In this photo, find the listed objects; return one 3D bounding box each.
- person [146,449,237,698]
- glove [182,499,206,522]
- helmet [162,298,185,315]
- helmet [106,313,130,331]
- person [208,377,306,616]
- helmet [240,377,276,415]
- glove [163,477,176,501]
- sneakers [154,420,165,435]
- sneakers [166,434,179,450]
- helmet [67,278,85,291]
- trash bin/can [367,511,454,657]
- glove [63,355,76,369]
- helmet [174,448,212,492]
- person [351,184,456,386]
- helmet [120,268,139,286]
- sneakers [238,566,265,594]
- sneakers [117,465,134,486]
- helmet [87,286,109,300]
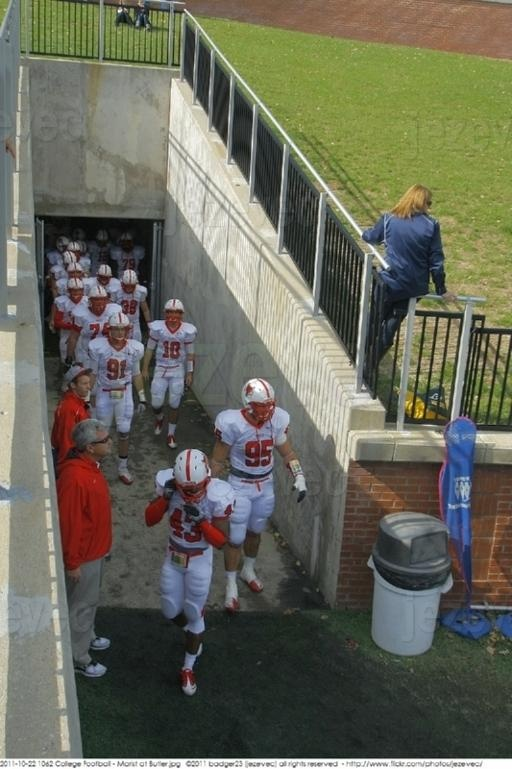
[{"bbox_3d":[-0.493,1.262,6.200,0.576,1.788,0.588,6,14,-1],"label":"person"},{"bbox_3d":[-0.423,0.839,5.844,0.143,0.108,0.058,25,67,45],"label":"glove"},{"bbox_3d":[-0.987,-0.958,10.847,0.246,0.227,0.273,1,9,-10],"label":"helmet"},{"bbox_3d":[-1.470,-0.673,9.627,0.183,0.197,0.236,1,0,-15],"label":"helmet"},{"bbox_3d":[-0.083,0.910,7.335,0.860,1.873,0.700,-3,13,-22],"label":"person"},{"bbox_3d":[0.027,0.078,7.015,0.199,0.216,0.260,-7,29,-31],"label":"helmet"},{"bbox_3d":[-0.581,0.718,5.990,0.077,0.176,0.180,5,15,-3],"label":"glove"},{"bbox_3d":[-1.242,0.565,11.356,0.075,0.231,0.160,1,-6,-3],"label":"sneakers"},{"bbox_3d":[-1.054,0.730,11.108,0.152,0.158,0.388,0,6,-10],"label":"sneakers"},{"bbox_3d":[-2.648,-1.455,12.990,0.170,0.128,0.237,-4,9,-24],"label":"helmet"},{"bbox_3d":[1.195,1.544,6.914,0.616,1.053,0.642,-9,20,-21],"label":"trash bin/can"},{"bbox_3d":[-2.315,-0.258,11.171,0.089,0.174,0.243,3,0,-25],"label":"glove"},{"bbox_3d":[-0.414,0.595,5.839,0.203,0.287,0.231,-2,-24,1],"label":"helmet"},{"bbox_3d":[1.176,-0.827,7.322,0.715,1.590,0.851,7,14,6],"label":"person"},{"bbox_3d":[-1.858,-1.605,13.226,0.225,0.267,0.321,-1,50,-28],"label":"helmet"},{"bbox_3d":[-0.047,1.722,7.811,0.105,0.137,0.313,-6,13,-28],"label":"sneakers"},{"bbox_3d":[-1.461,1.008,9.885,0.098,0.123,0.270,-5,13,-30],"label":"sneakers"},{"bbox_3d":[-2.012,-1.161,11.315,0.149,0.164,0.210,-3,9,-21],"label":"helmet"}]
